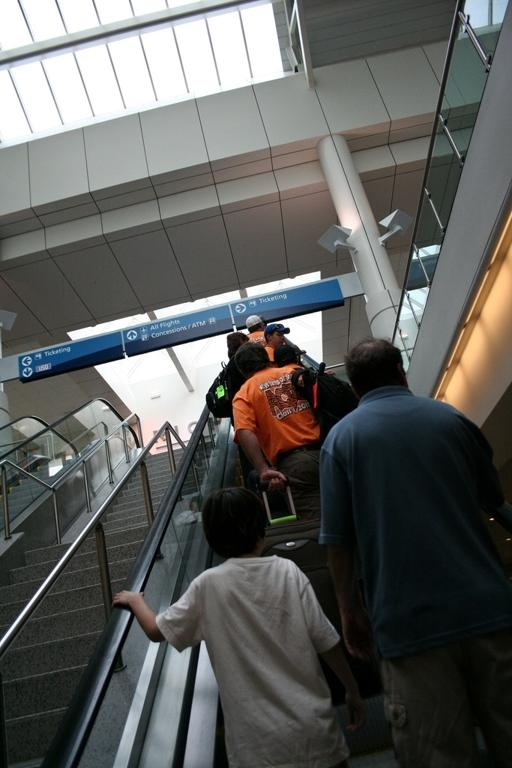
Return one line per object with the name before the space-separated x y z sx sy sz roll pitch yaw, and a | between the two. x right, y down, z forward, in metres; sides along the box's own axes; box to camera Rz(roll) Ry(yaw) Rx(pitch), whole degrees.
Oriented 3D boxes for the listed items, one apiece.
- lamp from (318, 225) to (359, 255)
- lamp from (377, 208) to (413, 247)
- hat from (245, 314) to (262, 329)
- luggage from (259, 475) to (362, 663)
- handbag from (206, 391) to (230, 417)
lamp | 1.457 -2.522 9.118 0.596 0.625 0.442 -9 -20 -5
lamp | 2.316 -2.681 8.434 0.477 0.500 0.746 -13 8 0
hat | -0.009 -0.641 5.170 0.112 0.091 0.152 -14 16 47
luggage | 0.134 0.651 1.957 0.385 0.588 0.391 -28 -26 31
handbag | -0.337 0.206 4.496 0.170 0.231 0.246 -21 -31 -15
